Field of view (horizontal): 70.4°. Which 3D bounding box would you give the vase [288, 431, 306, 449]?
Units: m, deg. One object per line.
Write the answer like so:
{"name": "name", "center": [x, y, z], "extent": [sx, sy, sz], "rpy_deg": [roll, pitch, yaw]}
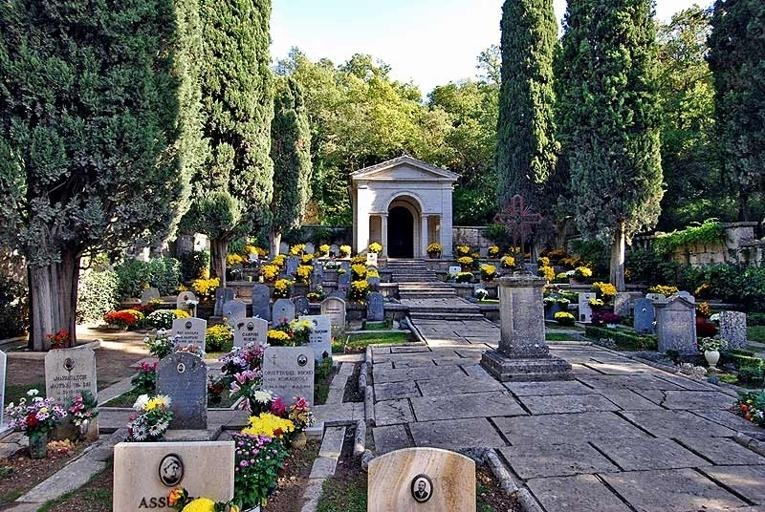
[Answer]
{"name": "vase", "center": [-1.613, 3.571, 10.518], "extent": [0.275, 0.235, 0.295], "rpy_deg": [1, 0, -4]}

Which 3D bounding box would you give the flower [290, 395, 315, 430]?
{"name": "flower", "center": [-1.574, 3.122, 10.650], "extent": [0.518, 0.684, 0.316], "rpy_deg": [0, -1, -23]}

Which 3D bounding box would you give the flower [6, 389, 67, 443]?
{"name": "flower", "center": [-6.536, 3.026, 10.363], "extent": [0.935, 0.873, 0.472], "rpy_deg": [0, -1, -19]}

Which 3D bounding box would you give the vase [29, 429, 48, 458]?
{"name": "vase", "center": [-6.495, 3.570, 10.294], "extent": [0.274, 0.520, 0.211], "rpy_deg": [0, -1, -31]}
